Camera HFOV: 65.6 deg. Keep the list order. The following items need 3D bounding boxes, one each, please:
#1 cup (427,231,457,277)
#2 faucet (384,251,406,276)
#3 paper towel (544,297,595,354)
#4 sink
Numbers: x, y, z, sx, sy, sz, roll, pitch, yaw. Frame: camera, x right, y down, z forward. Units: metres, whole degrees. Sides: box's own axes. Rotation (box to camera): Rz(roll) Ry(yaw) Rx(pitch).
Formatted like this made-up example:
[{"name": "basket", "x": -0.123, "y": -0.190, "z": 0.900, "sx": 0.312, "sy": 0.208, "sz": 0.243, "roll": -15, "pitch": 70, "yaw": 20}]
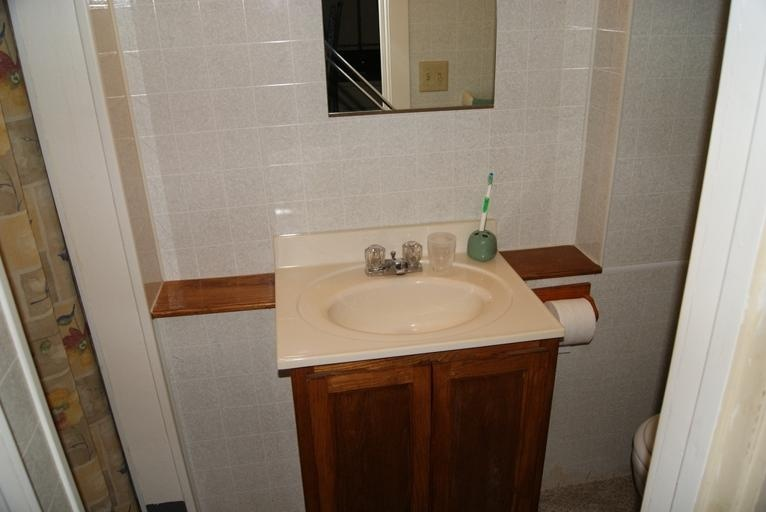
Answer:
[{"name": "cup", "x": 0.199, "y": -0.009, "z": 2.097, "sx": 0.122, "sy": 0.139, "sz": 0.122, "roll": -2, "pitch": 26, "yaw": 1}, {"name": "faucet", "x": 0.042, "y": 0.032, "z": 2.033, "sx": 0.078, "sy": 0.052, "sz": 0.076, "roll": -2, "pitch": 28, "yaw": -2}, {"name": "paper towel", "x": 0.656, "y": 0.247, "z": 2.101, "sx": 0.170, "sy": 0.188, "sz": 0.106, "roll": -8, "pitch": 23, "yaw": -13}, {"name": "sink", "x": 0.074, "y": 0.174, "z": 1.920, "sx": 0.655, "sy": 0.156, "sz": 0.388, "roll": -2, "pitch": 22, "yaw": -1}]
